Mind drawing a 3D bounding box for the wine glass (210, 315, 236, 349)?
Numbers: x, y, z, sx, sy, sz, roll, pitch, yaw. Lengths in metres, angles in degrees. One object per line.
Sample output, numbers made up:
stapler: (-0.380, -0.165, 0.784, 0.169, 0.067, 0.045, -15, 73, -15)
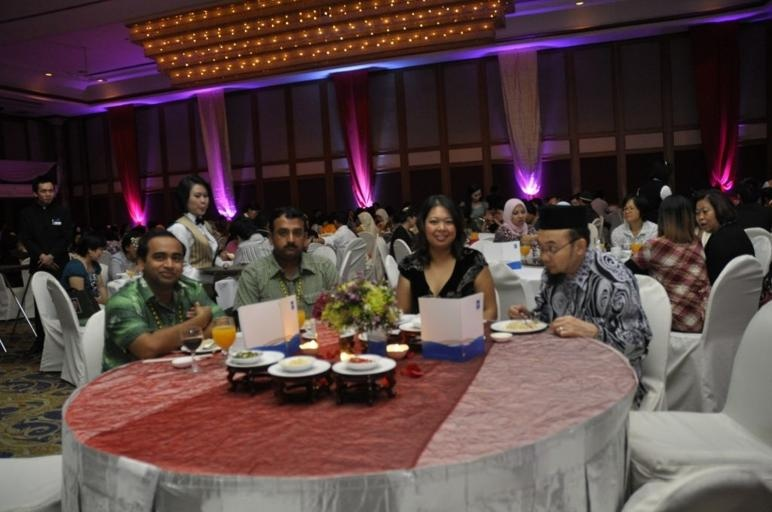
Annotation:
wine glass: (-0.720, 0.333, 2.398, 0.123, 0.199, 0.124, -1, -1, -22)

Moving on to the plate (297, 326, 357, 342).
plate: (-0.267, 0.337, 2.358, 0.137, 0.033, 0.143, -1, -1, 12)

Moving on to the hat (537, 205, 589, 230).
hat: (0.904, -0.200, 2.793, 0.160, 0.076, 0.159, -5, 8, -26)
